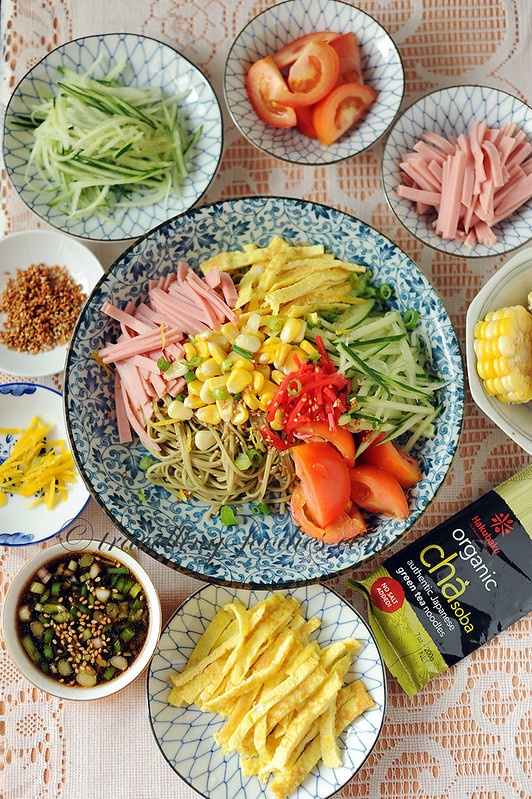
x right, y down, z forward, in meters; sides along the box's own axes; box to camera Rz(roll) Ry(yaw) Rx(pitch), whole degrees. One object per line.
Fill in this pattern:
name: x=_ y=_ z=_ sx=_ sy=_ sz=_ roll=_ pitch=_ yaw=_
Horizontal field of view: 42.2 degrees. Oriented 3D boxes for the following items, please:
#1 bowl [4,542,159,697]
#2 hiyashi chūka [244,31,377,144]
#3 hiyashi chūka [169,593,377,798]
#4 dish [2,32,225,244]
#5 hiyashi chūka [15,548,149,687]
bowl: x=-0.524 y=0.619 z=1.846 sx=0.450 sy=0.155 sz=0.428 roll=0 pitch=88 yaw=0
hiyashi chūka: x=0.102 y=-0.952 z=2.095 sx=0.382 sy=0.381 sz=0.133 roll=-7 pitch=96 yaw=-13
hiyashi chūka: x=0.025 y=0.772 z=1.851 sx=0.490 sy=0.209 sz=0.445 roll=32 pitch=70 yaw=19
dish: x=-0.430 y=-0.757 z=2.255 sx=0.663 sy=0.170 sz=0.643 roll=-1 pitch=95 yaw=2
hiyashi chūka: x=-0.512 y=0.630 z=1.961 sx=0.420 sy=0.132 sz=0.401 roll=-6 pitch=80 yaw=6
